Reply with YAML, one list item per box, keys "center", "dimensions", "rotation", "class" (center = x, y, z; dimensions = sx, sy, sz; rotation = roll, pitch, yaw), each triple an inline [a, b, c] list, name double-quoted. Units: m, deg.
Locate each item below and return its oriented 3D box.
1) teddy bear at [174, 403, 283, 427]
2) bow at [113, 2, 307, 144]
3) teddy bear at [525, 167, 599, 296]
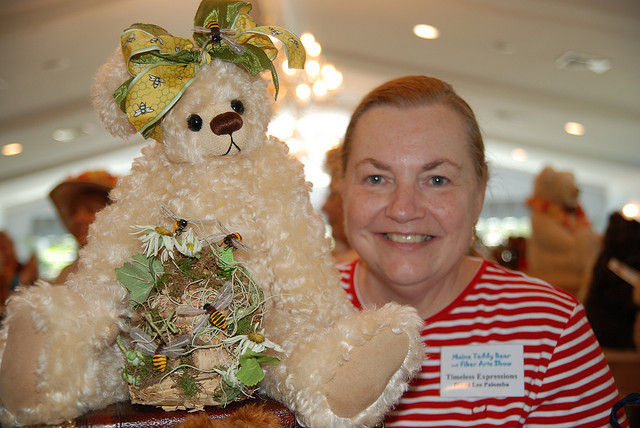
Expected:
- center: [-0.268, 0.607, 1.687]
  dimensions: [0.301, 0.057, 0.067]
  rotation: [-2, 8, -6]
  class: "teddy bear"
- center: [-0.419, -0.481, 1.896]
  dimensions: [0.551, 0.469, 0.206]
  rotation: [-17, -19, -9]
  class: "bow"
- center: [2.039, 0.110, 4.642]
  dimensions: [0.710, 0.961, 0.723]
  rotation: [-5, -2, 20]
  class: "teddy bear"
